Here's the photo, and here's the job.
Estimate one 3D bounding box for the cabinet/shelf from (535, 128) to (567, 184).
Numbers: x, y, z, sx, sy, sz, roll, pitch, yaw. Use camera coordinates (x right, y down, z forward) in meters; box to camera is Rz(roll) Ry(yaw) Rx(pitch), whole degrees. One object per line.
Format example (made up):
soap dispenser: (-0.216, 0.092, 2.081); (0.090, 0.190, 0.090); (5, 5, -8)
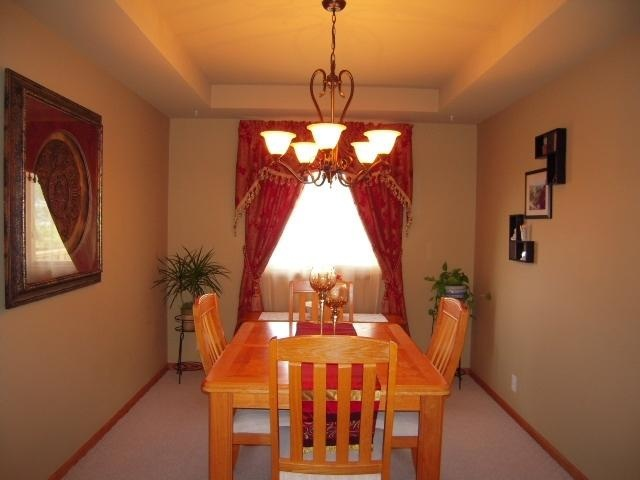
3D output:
cabinet/shelf: (1.771, -0.634, 3.586); (0.081, 0.405, 0.246); (-1, 1, -11)

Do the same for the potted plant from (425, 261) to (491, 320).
potted plant: (1.387, 0.504, 4.878); (0.630, 0.752, 0.554); (-1, -2, 8)

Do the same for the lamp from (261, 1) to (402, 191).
lamp: (0.075, -1.259, 3.907); (1.110, 1.648, 1.160); (1, -1, -16)

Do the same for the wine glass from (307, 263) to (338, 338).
wine glass: (0.011, 0.474, 3.214); (0.164, 0.599, 0.177); (5, 16, 17)

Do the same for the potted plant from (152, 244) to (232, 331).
potted plant: (-1.326, 0.470, 4.867); (0.661, 0.840, 0.753); (0, 3, -16)
